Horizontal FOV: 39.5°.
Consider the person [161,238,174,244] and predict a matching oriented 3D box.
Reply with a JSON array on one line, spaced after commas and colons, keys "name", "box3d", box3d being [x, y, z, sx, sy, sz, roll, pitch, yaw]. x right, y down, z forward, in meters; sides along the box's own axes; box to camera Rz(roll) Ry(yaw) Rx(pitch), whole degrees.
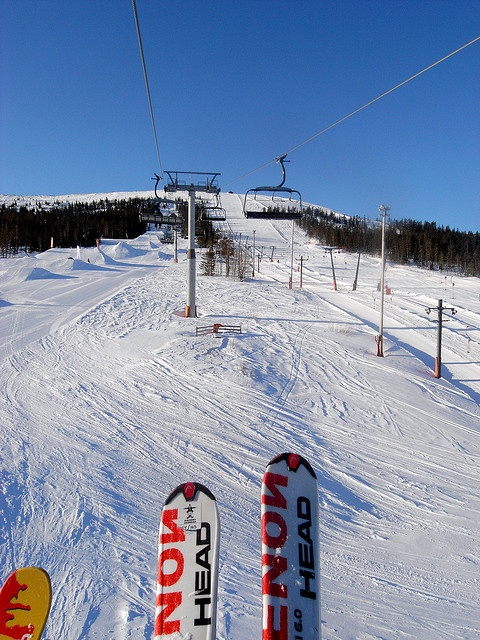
[{"name": "person", "box3d": [-8.350, -9.111, 76.696, 1.287, 0.617, 1.723, -9, 15, -40]}]
